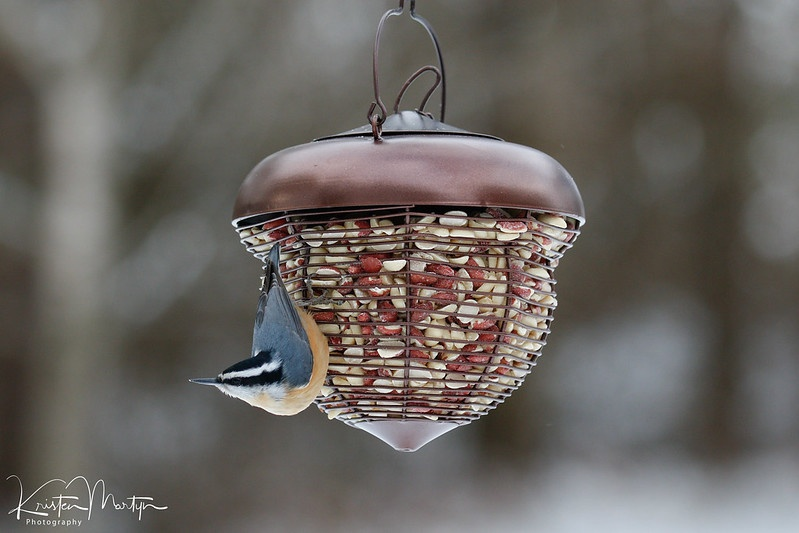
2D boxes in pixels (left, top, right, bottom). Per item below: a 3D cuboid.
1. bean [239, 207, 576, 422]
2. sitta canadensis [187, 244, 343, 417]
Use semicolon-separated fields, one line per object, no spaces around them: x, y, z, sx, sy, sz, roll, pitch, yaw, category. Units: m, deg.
-0.497;0.200;5.897;0.391;0.496;0.778;-20;57;28;bean
-0.418;0.296;5.764;0.335;0.683;0.467;7;24;35;sitta canadensis
